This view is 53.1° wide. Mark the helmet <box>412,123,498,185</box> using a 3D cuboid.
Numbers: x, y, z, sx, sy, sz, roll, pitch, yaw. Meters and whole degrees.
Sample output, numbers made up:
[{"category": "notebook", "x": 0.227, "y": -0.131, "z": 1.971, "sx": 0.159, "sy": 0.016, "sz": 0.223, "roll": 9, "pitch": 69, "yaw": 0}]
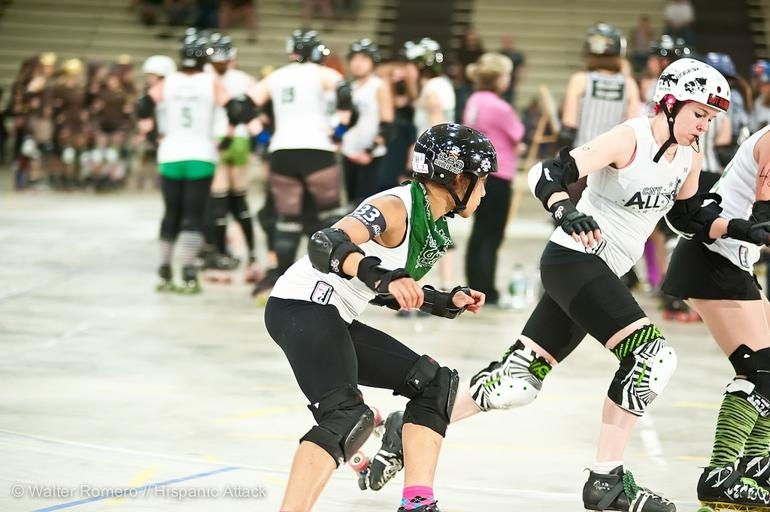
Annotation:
[{"category": "helmet", "x": 0.352, "y": -0.478, "z": 3.671, "sx": 0.400, "sy": 0.306, "sz": 0.306, "roll": -5, "pitch": 25, "yaw": -21}]

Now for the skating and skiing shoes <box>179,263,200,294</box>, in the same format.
[{"category": "skating and skiing shoes", "x": -1.981, "y": 0.241, "z": 7.966, "sx": 0.280, "sy": 0.289, "sz": 0.267, "roll": 0, "pitch": -2, "yaw": 1}]

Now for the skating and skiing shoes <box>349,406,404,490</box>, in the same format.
[{"category": "skating and skiing shoes", "x": -0.014, "y": 1.039, "z": 4.091, "sx": 0.170, "sy": 0.452, "sz": 0.289, "roll": 22, "pitch": 17, "yaw": -32}]

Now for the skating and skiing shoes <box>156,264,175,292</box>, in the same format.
[{"category": "skating and skiing shoes", "x": -2.231, "y": 0.217, "z": 7.839, "sx": 0.253, "sy": 0.265, "sz": 0.244, "roll": -2, "pitch": 18, "yaw": -24}]

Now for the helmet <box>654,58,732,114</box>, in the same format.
[{"category": "helmet", "x": 1.594, "y": -0.865, "z": 3.988, "sx": 0.335, "sy": 0.266, "sz": 0.275, "roll": 17, "pitch": 9, "yaw": 34}]
